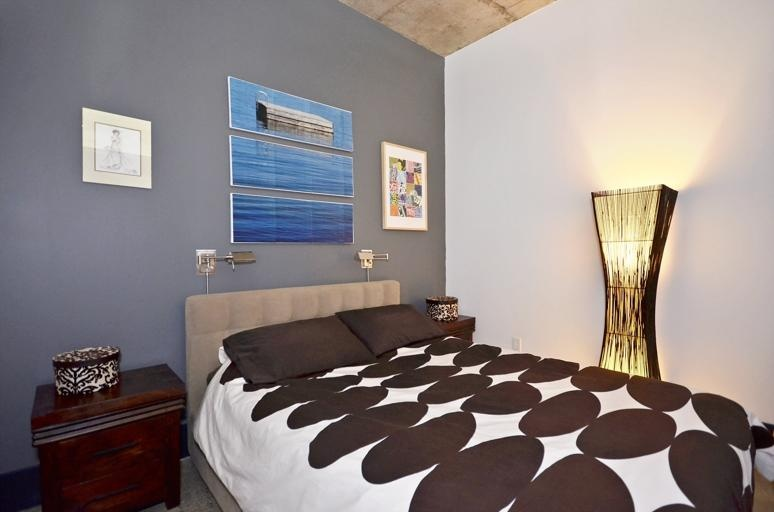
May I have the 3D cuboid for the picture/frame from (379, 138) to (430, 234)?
[{"bbox_3d":[0.149,-0.694,4.912,0.077,1.188,0.965,-4,-5,42],"label":"picture/frame"}]

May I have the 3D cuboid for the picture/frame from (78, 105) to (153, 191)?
[{"bbox_3d":[-1.944,-0.759,3.467,0.620,0.758,0.046,3,-8,-40],"label":"picture/frame"}]
